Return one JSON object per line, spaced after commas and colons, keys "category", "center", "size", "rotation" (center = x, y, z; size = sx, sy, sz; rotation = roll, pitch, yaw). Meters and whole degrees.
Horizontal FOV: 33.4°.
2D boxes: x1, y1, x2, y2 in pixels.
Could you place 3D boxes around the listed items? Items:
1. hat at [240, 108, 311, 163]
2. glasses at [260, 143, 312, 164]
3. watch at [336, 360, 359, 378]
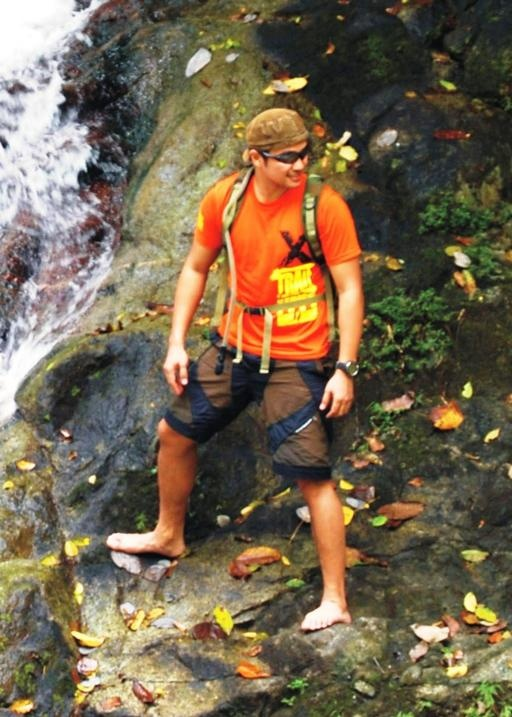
{"category": "hat", "center": [0.113, -1.064, 4.071], "size": [0.346, 0.235, 0.252], "rotation": [14, 37, 39]}
{"category": "glasses", "center": [0.146, -0.938, 3.957], "size": [0.223, 0.080, 0.089], "rotation": [-13, 24, -2]}
{"category": "watch", "center": [0.414, 0.044, 4.074], "size": [0.111, 0.067, 0.117], "rotation": [5, -8, 44]}
